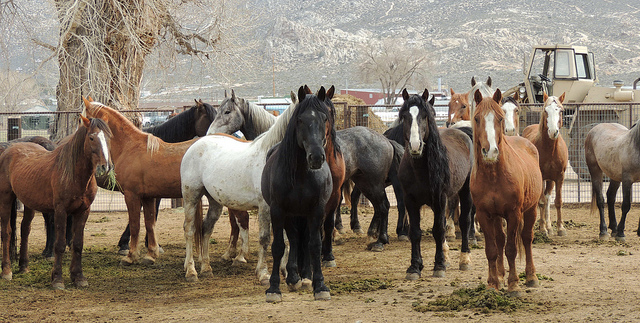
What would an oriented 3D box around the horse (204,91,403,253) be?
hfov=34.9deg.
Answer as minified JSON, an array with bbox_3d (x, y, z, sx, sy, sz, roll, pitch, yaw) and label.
[{"bbox_3d":[0.276,-0.441,54.262,7.884,10.867,5.956,1,2,-3],"label":"horse"}]

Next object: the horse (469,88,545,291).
[{"bbox_3d":[10.560,1.637,55.936,4.100,10.102,4.431,0,2,6],"label":"horse"}]

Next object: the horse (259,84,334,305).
[{"bbox_3d":[1.280,1.930,55.717,4.255,11.400,9.136,1,2,7],"label":"horse"}]

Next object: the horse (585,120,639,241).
[{"bbox_3d":[17.416,0.785,59.996,3.679,6.195,4.453,2,1,9],"label":"horse"}]

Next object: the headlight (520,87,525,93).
[{"bbox_3d":[13.492,-4.857,68.001,0.340,0.339,0.181,0,-1,-23],"label":"headlight"}]
